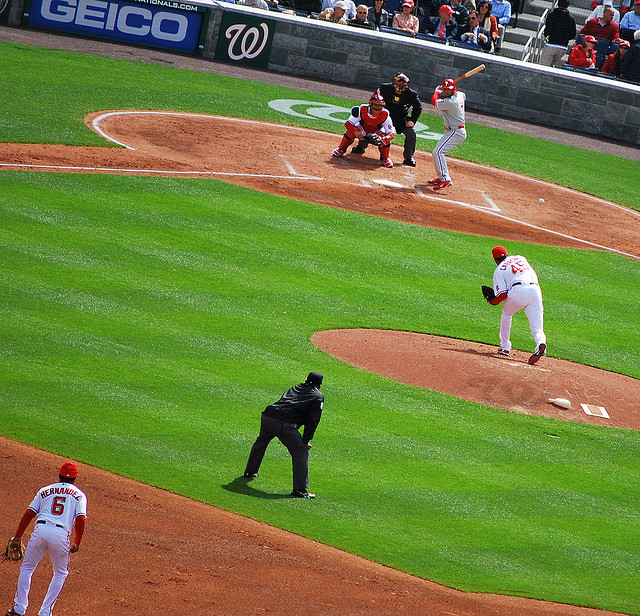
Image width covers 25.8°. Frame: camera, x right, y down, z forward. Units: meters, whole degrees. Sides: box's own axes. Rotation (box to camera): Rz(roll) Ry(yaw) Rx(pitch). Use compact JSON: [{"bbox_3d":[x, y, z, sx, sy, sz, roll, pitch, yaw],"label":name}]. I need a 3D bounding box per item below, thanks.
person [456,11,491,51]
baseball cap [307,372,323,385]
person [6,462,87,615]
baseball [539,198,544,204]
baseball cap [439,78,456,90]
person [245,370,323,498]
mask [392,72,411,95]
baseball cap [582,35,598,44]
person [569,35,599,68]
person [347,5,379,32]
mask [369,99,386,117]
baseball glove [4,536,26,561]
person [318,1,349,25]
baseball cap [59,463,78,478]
[{"bbox_3d":[4.716,-8.379,41.989,1.013,1.092,1.102,13,11,-9],"label":"person"},{"bbox_3d":[-0.067,0.992,19.289,0.197,0.163,0.210,14,10,1],"label":"baseball cap"},{"bbox_3d":[-3.248,2.806,16.522,0.777,1.873,0.713,16,12,-8],"label":"person"},{"bbox_3d":[5.284,-2.549,33.422,0.140,0.071,0.141,7,23,5],"label":"baseball"},{"bbox_3d":[2.805,-4.854,30.389,0.388,0.225,0.458,2,13,-8],"label":"baseball cap"},{"bbox_3d":[-0.345,1.759,19.408,1.002,1.807,0.441,18,12,4],"label":"person"},{"bbox_3d":[1.875,-5.189,32.371,0.332,0.462,0.605,16,10,-1],"label":"mask"},{"bbox_3d":[7.934,-8.047,41.540,0.343,0.199,0.448,2,3,-43],"label":"baseball cap"},{"bbox_3d":[7.899,-7.668,41.632,0.812,1.007,0.887,17,11,5],"label":"person"},{"bbox_3d":[1.352,-8.542,40.968,0.937,0.678,0.995,13,10,-2],"label":"person"},{"bbox_3d":[1.269,-4.569,31.974,0.326,0.373,0.329,15,11,-3],"label":"mask"},{"bbox_3d":[-3.603,2.910,16.582,0.297,0.307,0.159,-1,-4,-11],"label":"baseball glove"},{"bbox_3d":[0.441,-8.789,41.331,1.103,0.450,0.690,-7,40,-8],"label":"person"},{"bbox_3d":[-2.978,1.959,16.660,0.186,0.152,0.161,13,11,-6],"label":"baseball cap"}]
